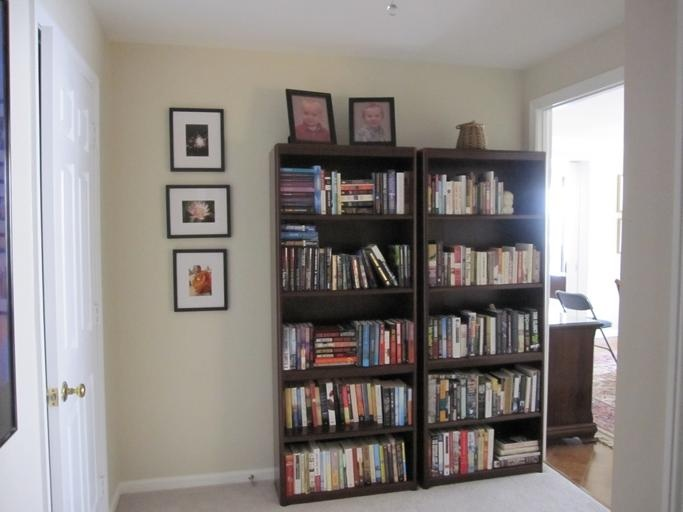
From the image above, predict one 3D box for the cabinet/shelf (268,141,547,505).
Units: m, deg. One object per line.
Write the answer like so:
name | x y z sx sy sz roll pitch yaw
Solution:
cabinet/shelf | 0.390 0.502 3.926 2.199 2.715 0.623 -1 4 -12
